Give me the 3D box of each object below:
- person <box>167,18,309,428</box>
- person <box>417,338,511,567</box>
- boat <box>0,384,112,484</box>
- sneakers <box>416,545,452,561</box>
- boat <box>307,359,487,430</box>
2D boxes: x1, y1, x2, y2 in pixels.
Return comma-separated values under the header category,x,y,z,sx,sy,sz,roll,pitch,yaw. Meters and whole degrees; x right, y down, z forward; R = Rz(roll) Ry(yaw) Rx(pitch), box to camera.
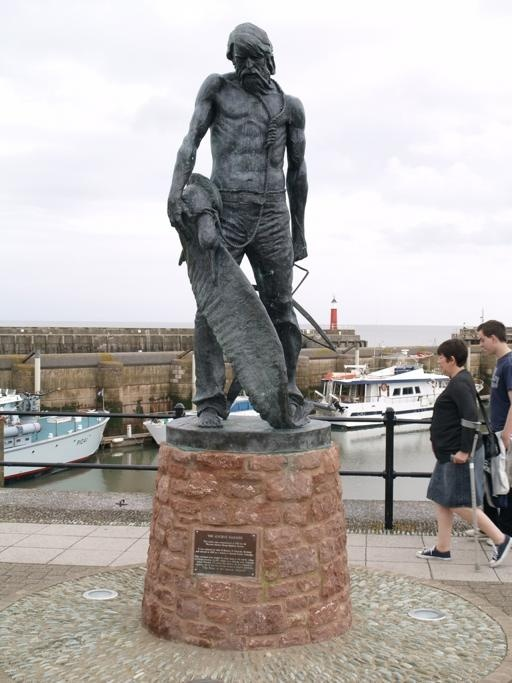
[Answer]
category,x,y,z,sx,sy,sz,roll,pitch,yaw
person,-0.009,-0.723,4.633,0.533,2.245,1.096,0,1,43
person,1.384,0.753,5.274,0.479,1.517,0.503,0,0,-31
boat,-5.351,2.396,20.113,1.333,2.319,6.042,0,0,5
sneakers,1.224,1.469,5.434,0.223,0.082,0.091,4,-2,28
boat,5.467,2.056,30.245,6.528,2.171,1.919,-1,1,-4
